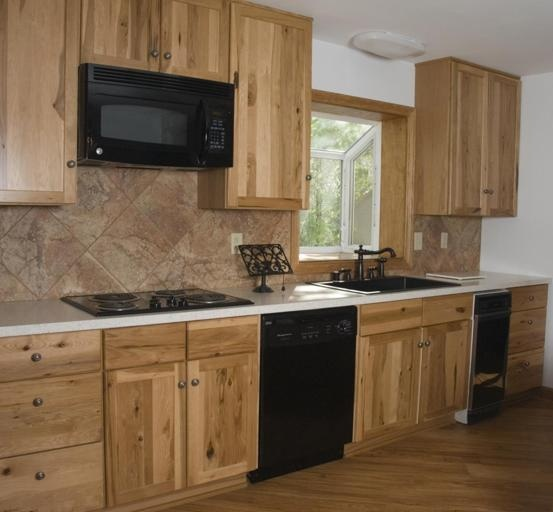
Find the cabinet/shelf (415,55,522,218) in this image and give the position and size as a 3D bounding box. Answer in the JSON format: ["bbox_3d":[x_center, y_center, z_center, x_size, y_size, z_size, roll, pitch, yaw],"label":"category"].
[{"bbox_3d":[1.329,-0.872,3.728,1.132,1.237,0.505,-2,3,-39],"label":"cabinet/shelf"}]

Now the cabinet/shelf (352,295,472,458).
[{"bbox_3d":[0.764,0.696,3.061,0.954,0.810,0.476,-3,2,-35],"label":"cabinet/shelf"}]

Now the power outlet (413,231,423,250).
[{"bbox_3d":[1.039,-0.117,3.876,0.143,0.156,0.017,-3,6,-42],"label":"power outlet"}]

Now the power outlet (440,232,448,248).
[{"bbox_3d":[1.304,-0.120,4.087,0.021,0.132,0.104,7,9,41],"label":"power outlet"}]
